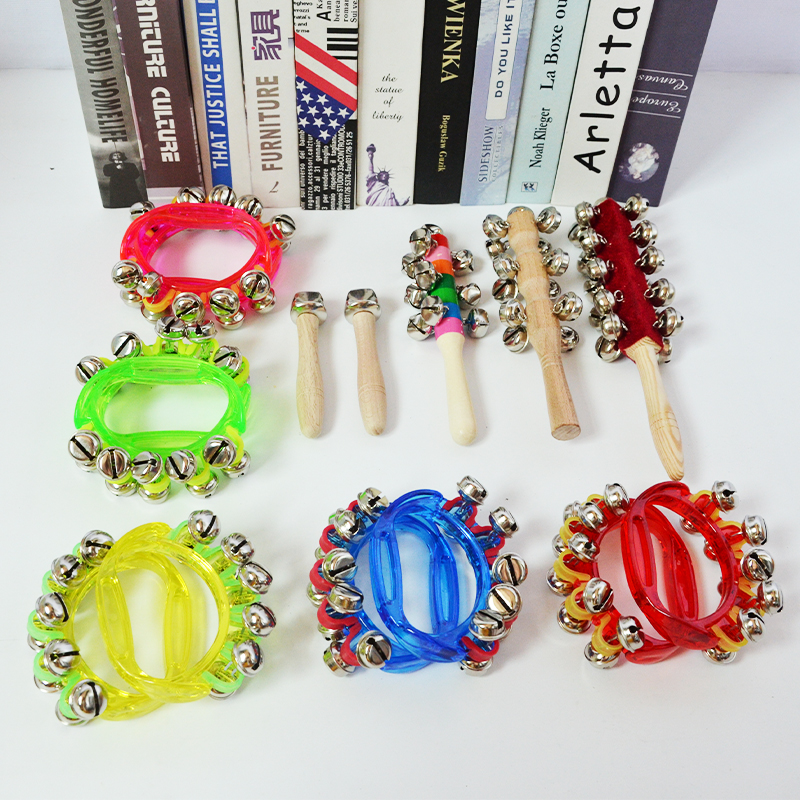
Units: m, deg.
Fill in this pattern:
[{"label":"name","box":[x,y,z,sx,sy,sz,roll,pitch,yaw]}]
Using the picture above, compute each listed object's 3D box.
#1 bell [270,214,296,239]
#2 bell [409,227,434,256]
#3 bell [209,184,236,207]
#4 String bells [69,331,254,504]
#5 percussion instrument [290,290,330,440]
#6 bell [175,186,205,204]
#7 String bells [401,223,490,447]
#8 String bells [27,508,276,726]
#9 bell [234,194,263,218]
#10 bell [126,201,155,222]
[{"label":"bell","box":[-0.186,-0.278,1.274,0.033,0.022,0.041,-7,90,-1]},{"label":"bell","box":[0.034,-0.253,1.283,0.035,0.042,0.047,-2,56,-1]},{"label":"bell","box":[-0.283,-0.328,1.284,0.035,0.036,0.041,-3,21,-7]},{"label":"String bells","box":[-0.321,0.020,1.061,0.212,0.068,0.242,-2,51,-4]},{"label":"percussion instrument","box":[-0.129,-0.049,1.132,0.049,0.051,0.227,-18,54,14]},{"label":"bell","box":[-0.336,-0.329,1.284,0.033,0.022,0.038,1,29,-1]},{"label":"String bells","box":[0.072,-0.098,1.215,0.115,0.050,0.361,-3,55,-8]},{"label":"String bells","box":[-0.275,0.249,0.903,0.217,0.073,0.249,-1,47,-12]},{"label":"bell","box":[-0.241,-0.314,1.289,0.035,0.025,0.043,3,70,-5]},{"label":"bell","box":[-0.413,-0.304,1.268,0.029,0.019,0.040,-2,27,0]}]
